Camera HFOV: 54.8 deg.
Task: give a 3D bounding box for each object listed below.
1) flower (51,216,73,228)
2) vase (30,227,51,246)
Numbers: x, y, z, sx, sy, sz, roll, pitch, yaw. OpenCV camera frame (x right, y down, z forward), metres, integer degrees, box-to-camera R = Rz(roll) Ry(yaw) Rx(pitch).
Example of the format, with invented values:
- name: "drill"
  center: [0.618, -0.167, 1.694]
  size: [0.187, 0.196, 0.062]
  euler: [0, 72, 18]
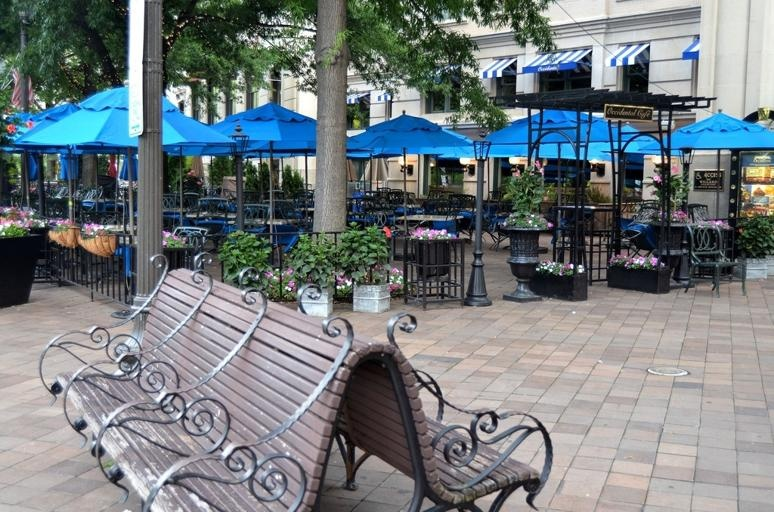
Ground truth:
- name: "flower"
  center: [-5.993, -0.623, 13.815]
  size: [0.412, 0.190, 0.465]
  euler: [0, 0, -5]
- name: "vase"
  center: [-6.115, -0.351, 13.205]
  size: [0.354, 0.368, 0.654]
  euler: [2, -3, -23]
